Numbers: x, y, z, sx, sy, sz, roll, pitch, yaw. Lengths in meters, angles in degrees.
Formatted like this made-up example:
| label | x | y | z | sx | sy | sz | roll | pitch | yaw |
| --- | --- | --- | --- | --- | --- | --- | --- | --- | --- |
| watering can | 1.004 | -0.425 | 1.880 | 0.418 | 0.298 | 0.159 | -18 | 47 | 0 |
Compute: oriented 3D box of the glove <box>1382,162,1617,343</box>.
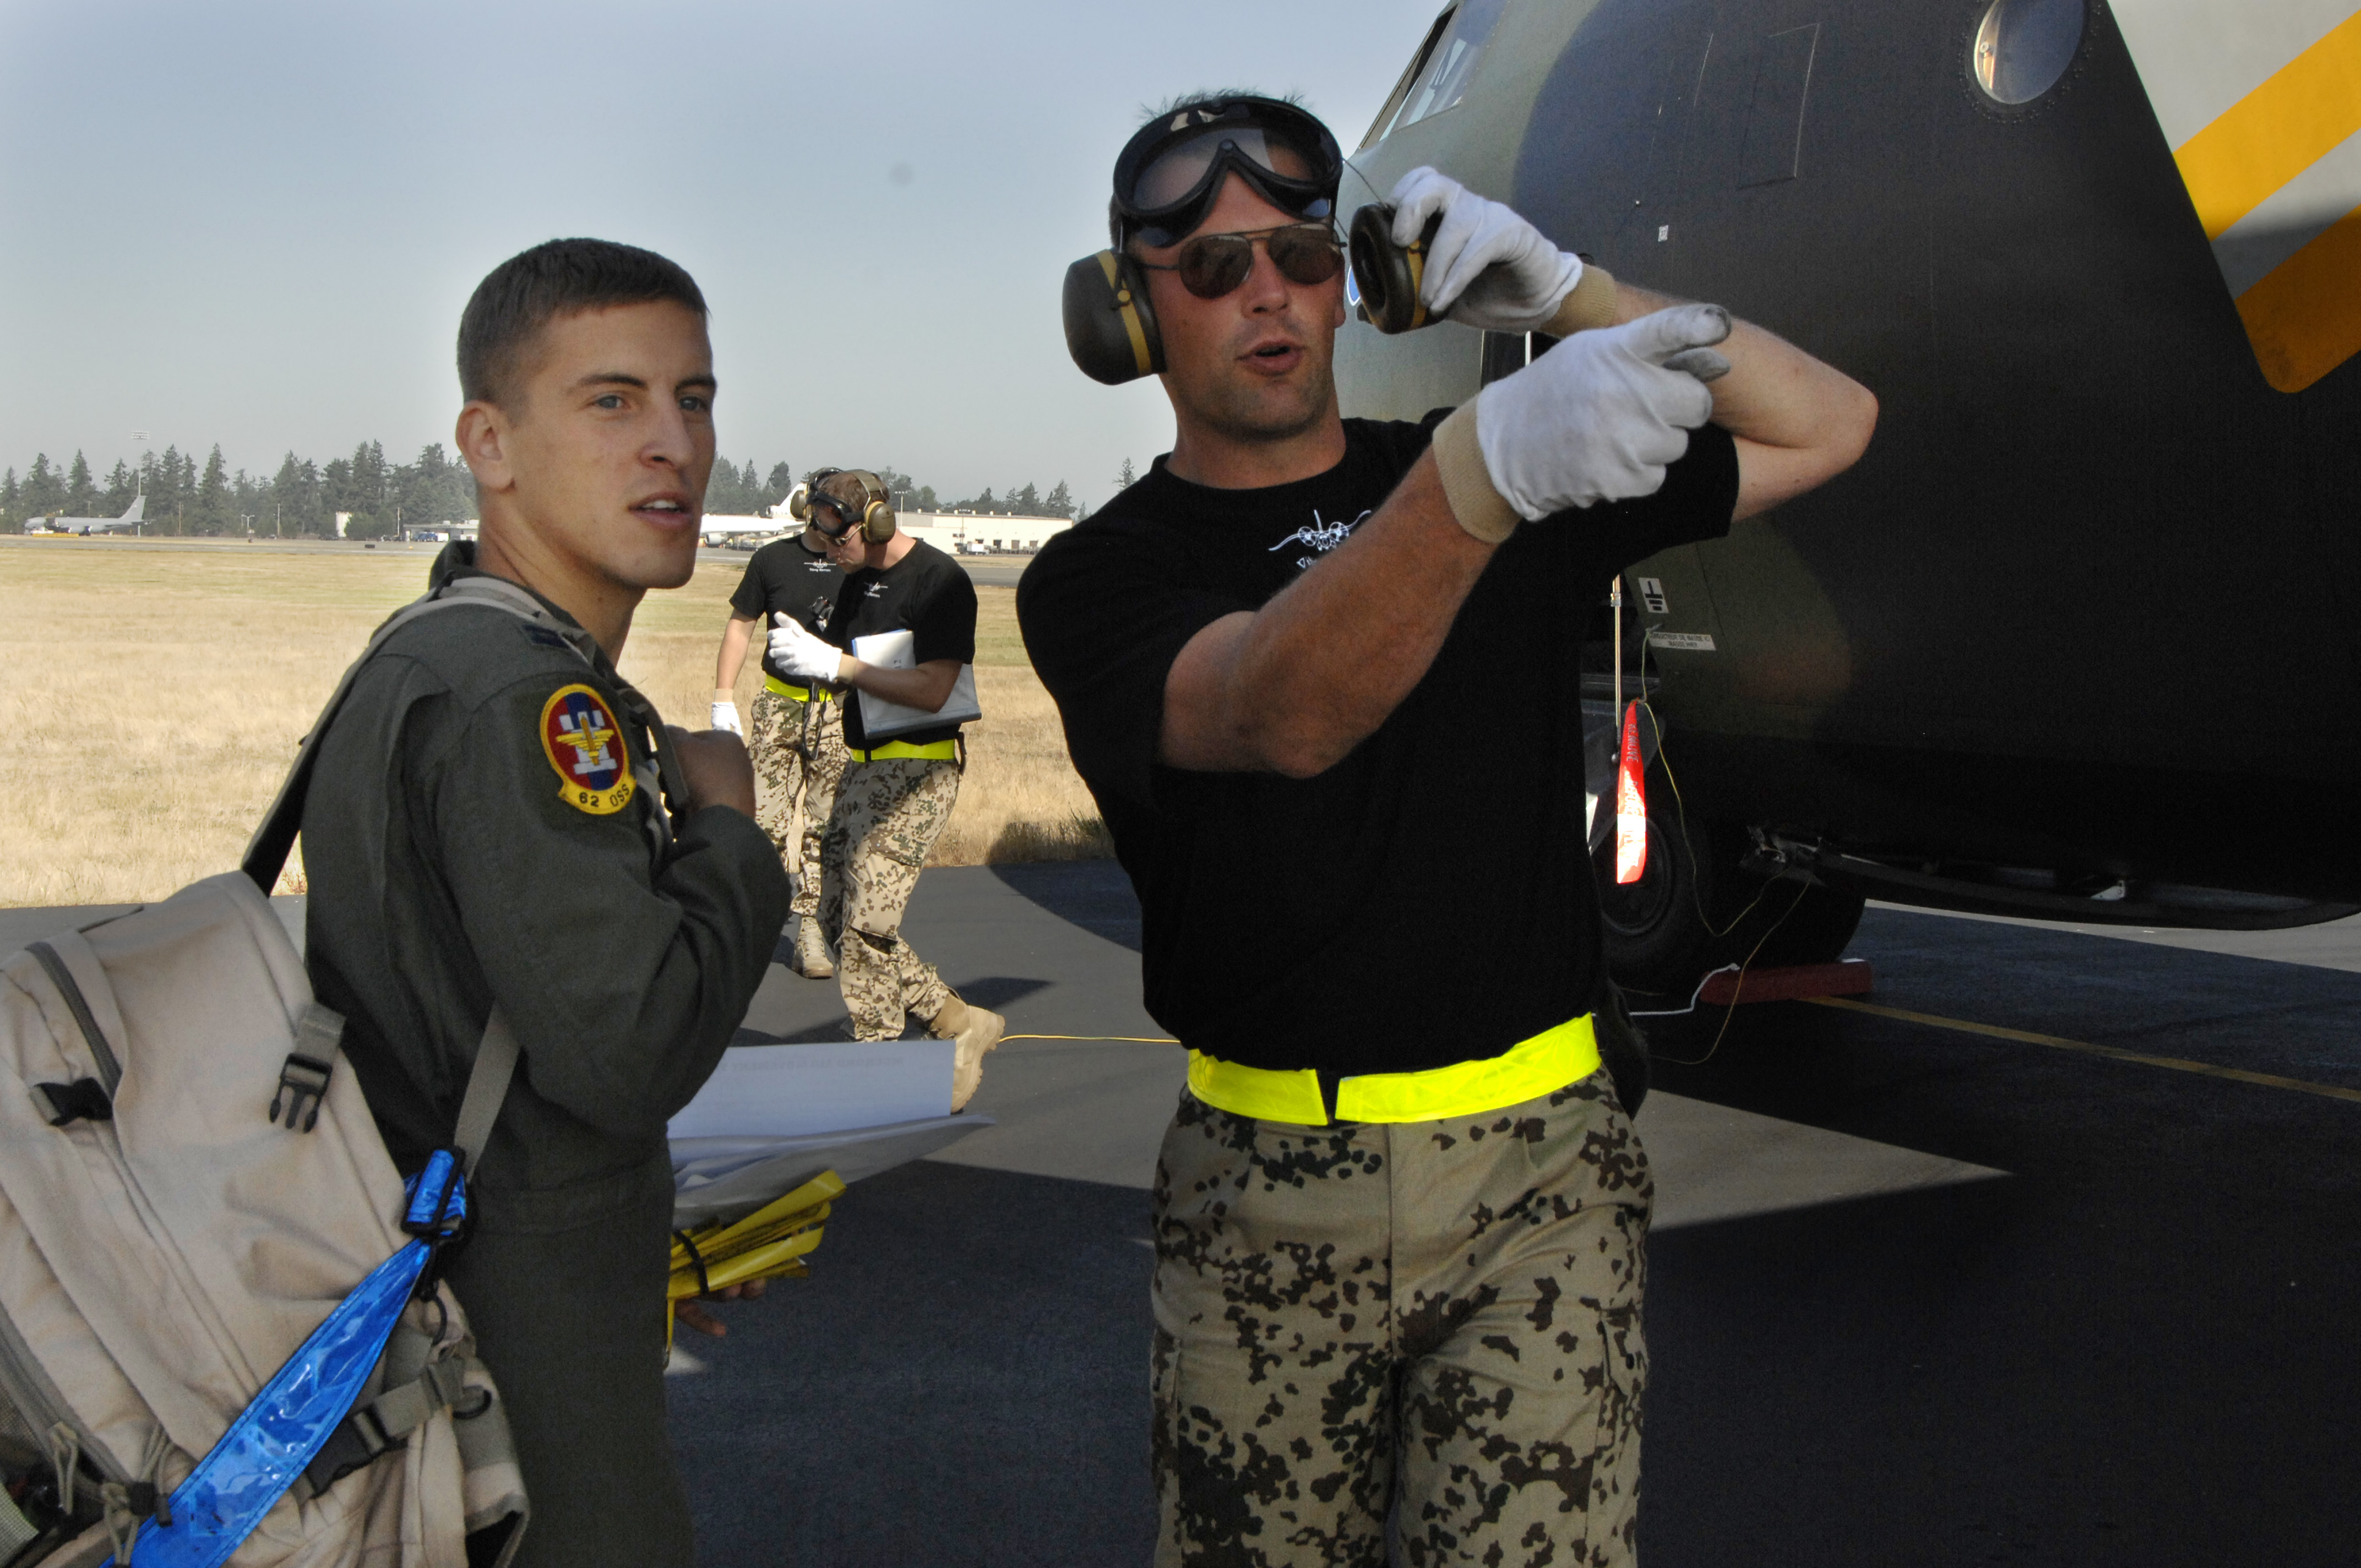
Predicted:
| label | x | y | z | sx | sy | sz | roll | pitch | yaw |
| --- | --- | --- | --- | --- | --- | --- | --- | --- | --- |
| glove | 0.459 | -0.784 | 2.567 | 0.177 | 0.296 | 0.161 | -13 | -21 | -17 |

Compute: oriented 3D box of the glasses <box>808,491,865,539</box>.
| label | x | y | z | sx | sy | sz | roll | pitch | yaw |
| --- | --- | --- | --- | --- | --- | --- | --- | --- | --- |
| glasses | -1.477 | -1.147 | 7.225 | 0.185 | 0.166 | 0.270 | 2 | 10 | 3 |

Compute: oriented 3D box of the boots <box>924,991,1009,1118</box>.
| label | x | y | z | sx | sy | sz | roll | pitch | yaw |
| --- | --- | --- | --- | --- | --- | --- | --- | --- | --- |
| boots | -0.897 | 1.046 | 6.698 | 0.145 | 0.398 | 0.358 | 8 | -19 | -35 |

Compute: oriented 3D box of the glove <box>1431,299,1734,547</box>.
| label | x | y | z | sx | sy | sz | roll | pitch | yaw |
| --- | --- | --- | --- | --- | --- | --- | --- | --- | --- |
| glove | 0.575 | -0.476 | 2.173 | 0.177 | 0.186 | 0.314 | 12 | -25 | 3 |
